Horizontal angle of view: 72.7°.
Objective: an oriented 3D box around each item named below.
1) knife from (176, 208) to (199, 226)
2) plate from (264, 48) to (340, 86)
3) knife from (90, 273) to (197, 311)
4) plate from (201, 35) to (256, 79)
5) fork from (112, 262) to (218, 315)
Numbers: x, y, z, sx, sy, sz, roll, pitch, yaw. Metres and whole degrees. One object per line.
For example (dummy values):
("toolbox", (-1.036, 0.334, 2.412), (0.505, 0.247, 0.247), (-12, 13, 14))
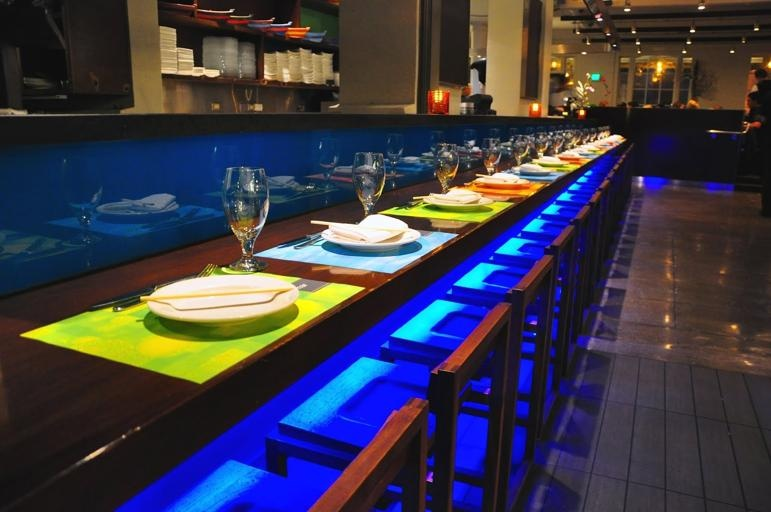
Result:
("knife", (-0.609, -0.125, 1.599), (0.052, 0.050, 0.031), (-2, 20, -43))
("plate", (-0.873, -1.882, 5.192), (0.448, 0.202, 0.571), (7, 12, 29))
("knife", (-0.535, 0.069, 1.142), (0.052, 0.014, 0.201), (14, 23, 36))
("plate", (-1.371, -1.728, 4.567), (0.403, 0.252, 0.399), (1, 7, 6))
("fork", (-0.490, 0.075, 1.161), (0.279, 0.029, 0.031), (-15, 36, -29))
